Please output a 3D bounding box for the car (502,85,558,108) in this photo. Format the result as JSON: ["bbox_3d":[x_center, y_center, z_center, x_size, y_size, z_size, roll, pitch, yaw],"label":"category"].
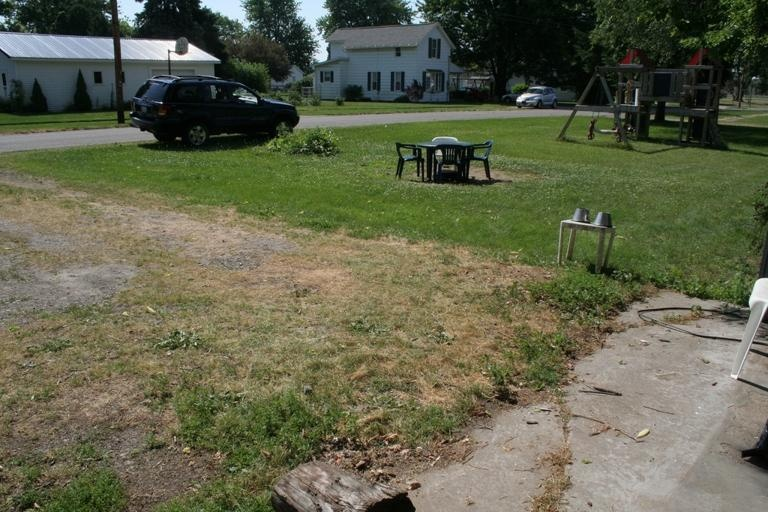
[{"bbox_3d":[11.804,-12.291,49.599,3.840,1.488,1.484,-12,19,-40],"label":"car"}]

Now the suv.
[{"bbox_3d":[-5.629,-4.642,21.381,5.299,2.050,2.552,-14,24,-41],"label":"suv"}]

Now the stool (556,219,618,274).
[{"bbox_3d":[3.333,-0.163,10.383,0.687,0.640,0.631,12,11,24],"label":"stool"}]

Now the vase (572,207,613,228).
[{"bbox_3d":[3.299,-0.573,10.089,0.452,0.254,0.753,-4,16,-16],"label":"vase"}]
